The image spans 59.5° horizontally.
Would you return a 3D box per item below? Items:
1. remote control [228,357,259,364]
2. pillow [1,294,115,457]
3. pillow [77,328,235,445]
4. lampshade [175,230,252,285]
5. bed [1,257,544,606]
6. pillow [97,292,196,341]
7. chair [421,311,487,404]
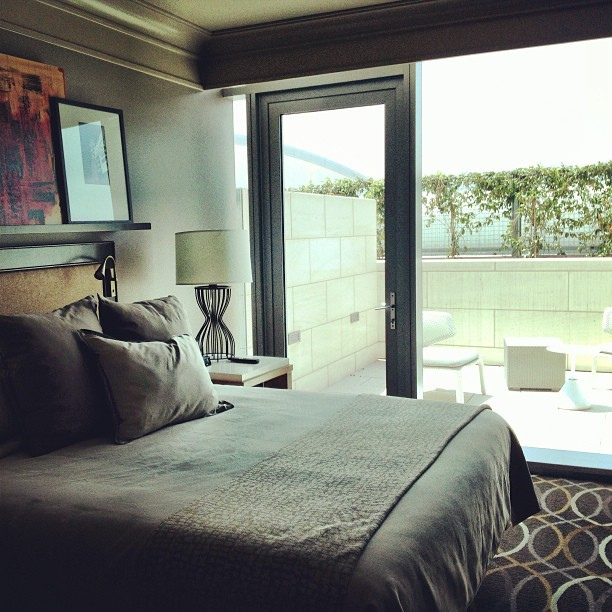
[{"bbox_3d":[-0.399,0.355,3.512,0.119,0.026,0.065,0,2,13],"label":"remote control"},{"bbox_3d":[-0.913,0.283,1.991,0.222,0.443,0.470,10,11,19],"label":"pillow"},{"bbox_3d":[-0.604,0.313,2.295,0.245,0.423,0.649,-2,-2,29],"label":"pillow"},{"bbox_3d":[-0.605,-0.288,3.465,0.515,0.347,0.499,-1,-1,-43],"label":"lampshade"},{"bbox_3d":[-0.086,0.429,2.185,1.351,0.706,1.398,0,5,13],"label":"bed"},{"bbox_3d":[-0.783,0.052,2.575,0.092,0.215,0.271,-28,-17,26],"label":"pillow"},{"bbox_3d":[1.000,0.368,3.903,0.483,0.693,0.523,-3,4,32],"label":"chair"}]
